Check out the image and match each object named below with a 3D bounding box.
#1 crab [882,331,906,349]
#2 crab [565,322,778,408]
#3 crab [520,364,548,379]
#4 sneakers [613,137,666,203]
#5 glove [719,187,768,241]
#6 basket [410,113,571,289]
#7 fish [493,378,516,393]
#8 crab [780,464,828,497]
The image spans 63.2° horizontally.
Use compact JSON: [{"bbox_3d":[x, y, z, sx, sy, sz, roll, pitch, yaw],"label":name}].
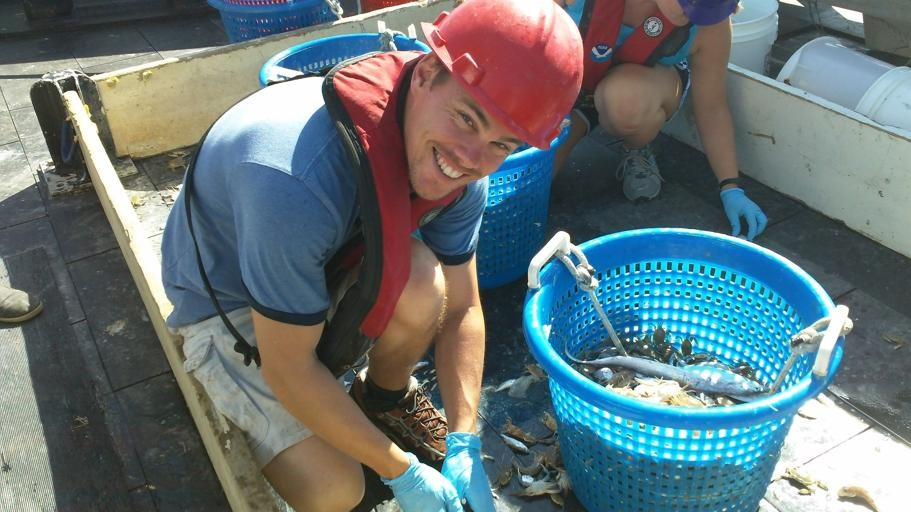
[{"bbox_3d":[2.391,0.462,4.001,0.115,0.025,0.076,-4,42,4],"label":"crab"},{"bbox_3d":[1.077,0.558,3.783,0.281,0.398,0.935,1,1,0],"label":"crab"},{"bbox_3d":[0.434,0.627,4.000,0.088,0.029,0.081,26,62,25],"label":"crab"},{"bbox_3d":[1.188,-0.538,4.742,0.221,0.396,0.240,0,3,-26],"label":"sneakers"},{"bbox_3d":[1.730,-0.260,4.431,0.197,0.373,0.205,3,3,39],"label":"glove"},{"bbox_3d":[0.258,-0.455,4.581,0.966,0.805,0.899,-23,43,-27],"label":"basket"},{"bbox_3d":[0.271,0.694,3.957,0.138,0.020,0.046,-35,72,-13],"label":"fish"},{"bbox_3d":[1.726,1.112,3.643,0.132,0.040,0.135,35,16,2],"label":"crab"}]
